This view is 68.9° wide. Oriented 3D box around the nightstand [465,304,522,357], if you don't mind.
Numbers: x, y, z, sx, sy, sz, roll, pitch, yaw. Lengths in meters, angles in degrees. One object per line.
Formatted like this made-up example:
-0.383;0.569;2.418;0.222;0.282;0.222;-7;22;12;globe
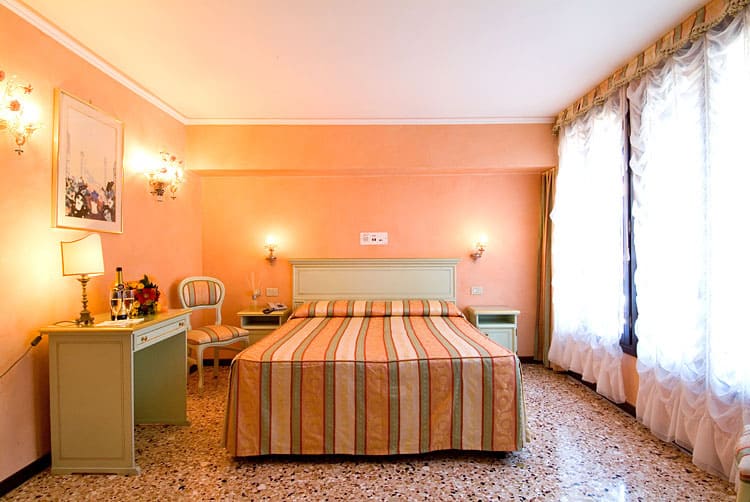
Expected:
1.663;1.159;7.601;0.604;0.691;0.434;1;0;8;nightstand

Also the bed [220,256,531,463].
-0.048;1.265;6.711;2.358;1.533;2.431;-1;-5;0;bed

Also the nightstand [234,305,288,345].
-1.547;1.110;7.618;0.551;0.596;0.410;0;4;-3;nightstand

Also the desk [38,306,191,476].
-2.725;1.416;6.037;0.931;1.399;1.493;1;4;6;desk
